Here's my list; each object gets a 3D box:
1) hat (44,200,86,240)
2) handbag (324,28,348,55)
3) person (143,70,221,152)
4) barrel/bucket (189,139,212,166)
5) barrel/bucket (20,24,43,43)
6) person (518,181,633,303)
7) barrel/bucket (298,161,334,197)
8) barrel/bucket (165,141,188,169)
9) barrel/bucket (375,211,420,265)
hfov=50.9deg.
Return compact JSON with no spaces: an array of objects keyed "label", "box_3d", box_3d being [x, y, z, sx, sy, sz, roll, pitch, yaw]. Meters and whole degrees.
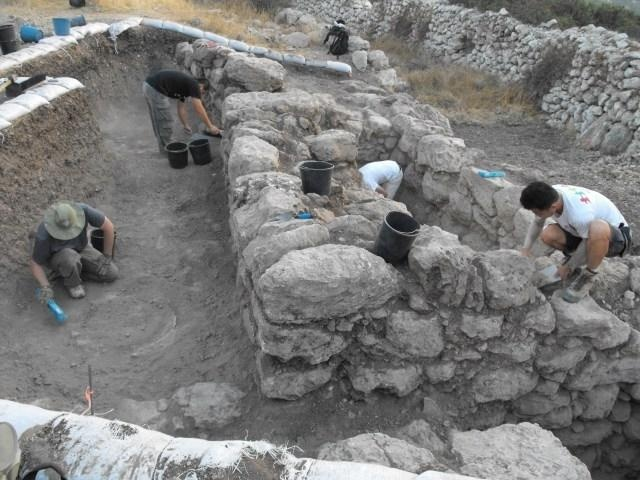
[{"label":"hat","box_3d":[-3.289,-0.295,8.559,0.374,0.429,0.120,33,62,22]},{"label":"handbag","box_3d":[0.424,-4.139,14.258,0.356,0.508,0.734,6,2,2]},{"label":"person","box_3d":[-2.219,-2.023,10.798,1.215,1.363,0.539,23,38,23]},{"label":"barrel/bucket","box_3d":[-1.869,-1.374,10.679,0.321,0.331,0.380,-7,45,1]},{"label":"barrel/bucket","box_3d":[-5.122,-3.627,11.929,0.323,0.404,0.479,-8,37,-20]},{"label":"person","box_3d":[3.067,-0.084,8.131,1.133,1.187,0.993,32,42,32]},{"label":"barrel/bucket","box_3d":[-0.057,-0.784,8.720,0.468,0.393,0.461,2,19,-1]},{"label":"barrel/bucket","box_3d":[-2.262,-1.334,10.626,0.333,0.294,0.407,-8,45,-14]},{"label":"barrel/bucket","box_3d":[0.999,-0.039,8.054,0.521,0.645,0.572,-6,5,0]}]
